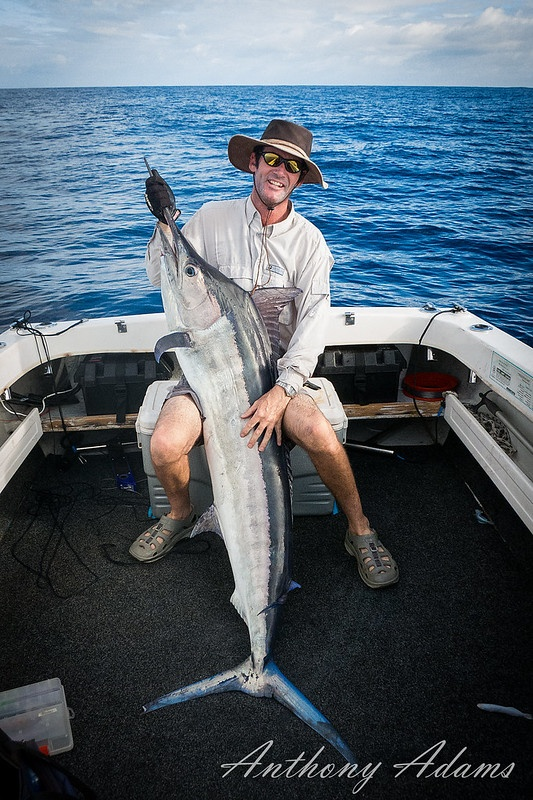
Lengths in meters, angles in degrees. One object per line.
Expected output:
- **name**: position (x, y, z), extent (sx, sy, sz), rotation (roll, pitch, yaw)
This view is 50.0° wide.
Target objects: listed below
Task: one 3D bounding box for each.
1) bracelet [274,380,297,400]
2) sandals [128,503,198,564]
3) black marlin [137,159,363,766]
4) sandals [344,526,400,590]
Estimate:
- **bracelet**: position (0.064, -0.038, 1.958), extent (0.026, 0.062, 0.052), rotation (-46, 7, -4)
- **sandals**: position (-0.403, 0.519, 2.416), extent (0.136, 0.137, 0.349), rotation (28, 44, 33)
- **black marlin**: position (-0.093, 0.332, 1.944), extent (0.367, 0.368, 1.562), rotation (-15, 32, 7)
- **sandals**: position (0.408, 0.593, 2.236), extent (0.143, 0.114, 0.329), rotation (-4, 22, -12)
